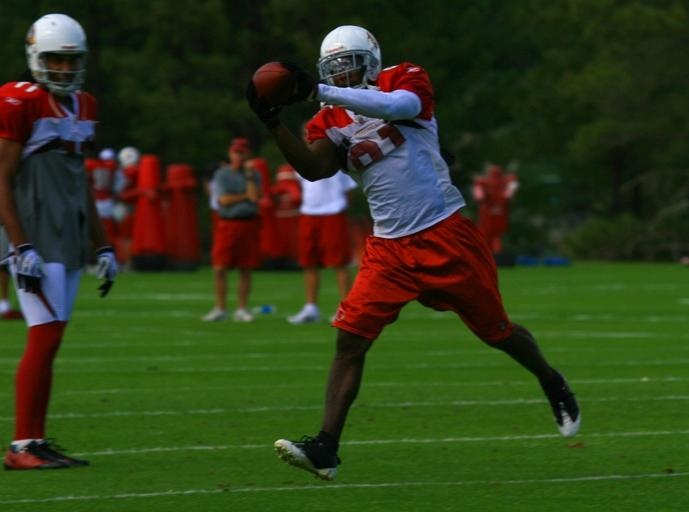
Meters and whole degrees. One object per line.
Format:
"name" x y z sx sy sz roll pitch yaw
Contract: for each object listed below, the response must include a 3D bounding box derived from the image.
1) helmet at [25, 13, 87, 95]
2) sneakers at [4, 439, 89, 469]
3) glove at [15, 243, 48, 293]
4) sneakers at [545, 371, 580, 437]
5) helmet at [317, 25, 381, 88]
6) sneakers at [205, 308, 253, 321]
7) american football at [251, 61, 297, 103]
"helmet" -1.805 -1.279 7.483 0.364 0.512 0.295 -4 10 -12
"sneakers" -1.881 1.239 7.461 0.419 0.117 0.222 -1 -4 7
"glove" -1.948 0.086 7.335 0.141 0.139 0.385 -5 29 -27
"sneakers" 1.400 0.969 7.745 0.176 0.413 0.182 -25 -16 20
"helmet" 0.031 -1.253 7.431 0.369 0.331 0.461 -6 4 21
"sneakers" -0.741 0.374 7.577 0.307 0.085 0.098 2 -9 0
"american football" -0.409 -1.077 7.274 0.244 0.195 0.287 23 20 19
